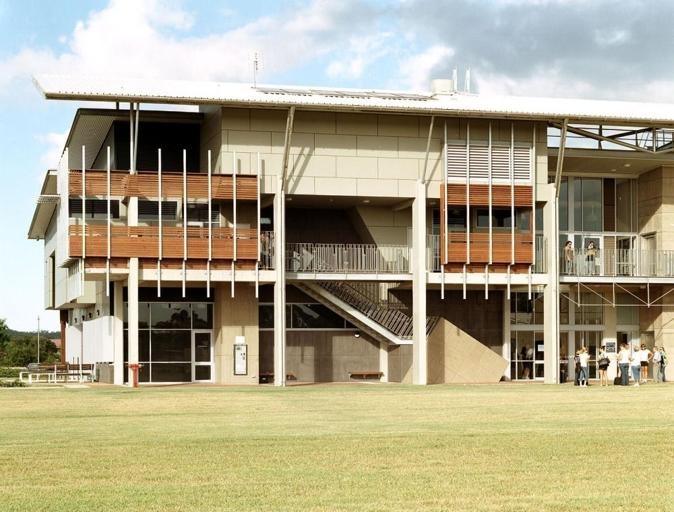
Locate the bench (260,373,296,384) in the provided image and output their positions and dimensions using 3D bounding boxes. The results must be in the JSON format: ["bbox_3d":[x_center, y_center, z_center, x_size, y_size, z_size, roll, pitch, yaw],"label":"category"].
[{"bbox_3d":[-2.651,5.151,58.100,1.978,0.492,0.601,8,-12,-43],"label":"bench"}]

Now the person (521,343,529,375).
[{"bbox_3d":[8.462,4.646,60.884,0.262,1.338,0.172,-2,-8,14],"label":"person"}]

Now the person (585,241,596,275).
[{"bbox_3d":[11.495,0.119,61.050,0.473,1.457,1.696,-2,-9,12],"label":"person"}]
